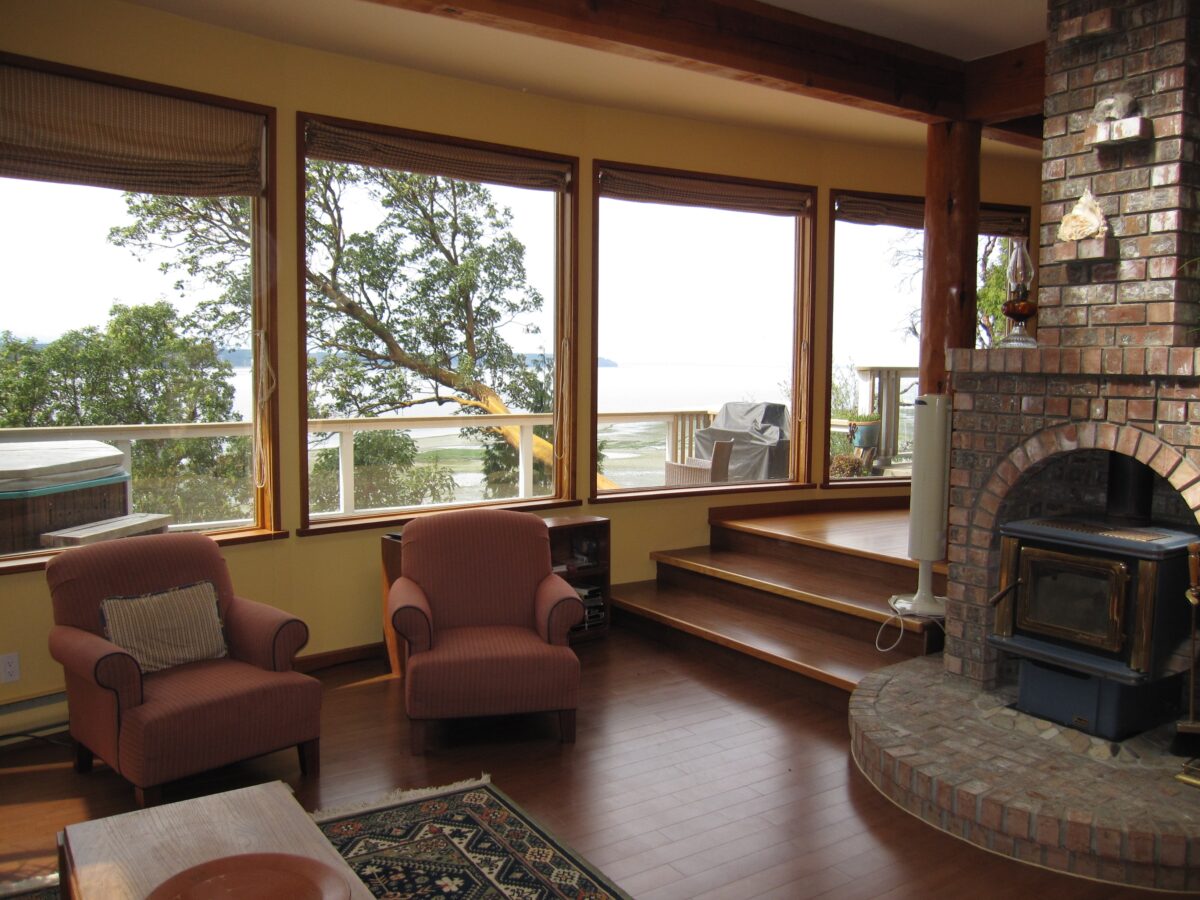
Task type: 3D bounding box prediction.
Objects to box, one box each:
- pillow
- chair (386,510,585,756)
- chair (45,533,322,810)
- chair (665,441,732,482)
[{"bbox_3d":[-2.051,0.837,4.080,0.415,0.313,0.139,-6,-30,-33],"label":"pillow"},{"bbox_3d":[-0.602,0.913,4.617,0.958,1.035,0.905,-2,10,-14],"label":"chair"},{"bbox_3d":[-1.928,0.958,4.309,1.236,1.234,1.097,-1,1,43],"label":"chair"},{"bbox_3d":[0.794,0.100,7.028,0.384,0.545,0.332,1,-2,23],"label":"chair"}]
